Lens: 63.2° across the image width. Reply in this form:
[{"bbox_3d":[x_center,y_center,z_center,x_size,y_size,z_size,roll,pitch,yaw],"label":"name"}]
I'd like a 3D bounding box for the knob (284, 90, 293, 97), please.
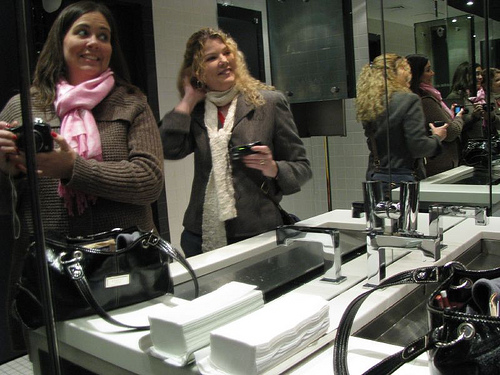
[{"bbox_3d":[0.135,-0.323,1.407,0.017,0.020,0.021,-5,12,20],"label":"knob"}]

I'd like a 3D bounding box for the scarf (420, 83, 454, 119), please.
[{"bbox_3d":[0.635,-0.298,1.404,0.039,0.110,0.081,-36,16,47],"label":"scarf"}]

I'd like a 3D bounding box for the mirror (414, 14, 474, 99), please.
[{"bbox_3d":[0.654,-0.419,1.342,0.156,0.268,0.009,-4,42,27],"label":"mirror"}]

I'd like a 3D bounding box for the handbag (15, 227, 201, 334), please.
[{"bbox_3d":[-0.327,0.204,0.929,0.227,0.186,0.384,7,3,27],"label":"handbag"}]

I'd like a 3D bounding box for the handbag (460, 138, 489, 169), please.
[{"bbox_3d":[0.820,-0.139,1.455,0.108,0.091,0.082,11,38,16],"label":"handbag"}]

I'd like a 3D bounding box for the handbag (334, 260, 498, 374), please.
[{"bbox_3d":[0.242,0.218,0.619,0.212,0.092,0.181,-13,17,32],"label":"handbag"}]

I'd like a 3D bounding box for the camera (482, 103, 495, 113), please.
[{"bbox_3d":[0.817,-0.270,1.385,0.037,0.031,0.013,9,15,24],"label":"camera"}]

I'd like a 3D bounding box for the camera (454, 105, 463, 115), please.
[{"bbox_3d":[0.718,-0.267,1.394,0.020,0.036,0.027,0,7,-37],"label":"camera"}]

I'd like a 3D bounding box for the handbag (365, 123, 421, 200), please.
[{"bbox_3d":[0.439,-0.073,1.283,0.176,0.238,0.274,2,11,32],"label":"handbag"}]

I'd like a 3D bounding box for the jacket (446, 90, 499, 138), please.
[{"bbox_3d":[0.794,-0.228,1.384,0.139,0.183,0.044,-1,20,10],"label":"jacket"}]

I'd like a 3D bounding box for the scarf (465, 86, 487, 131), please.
[{"bbox_3d":[0.775,-0.270,1.384,0.093,0.114,0.040,5,11,21],"label":"scarf"}]

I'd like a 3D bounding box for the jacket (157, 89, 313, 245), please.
[{"bbox_3d":[-0.074,-0.081,1.319,0.531,0.462,0.303,2,-2,9],"label":"jacket"}]

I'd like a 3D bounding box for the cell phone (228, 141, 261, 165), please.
[{"bbox_3d":[-0.025,-0.088,1.137,0.071,0.020,0.068,-14,0,-20],"label":"cell phone"}]

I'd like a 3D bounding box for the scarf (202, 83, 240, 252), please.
[{"bbox_3d":[-0.085,-0.058,1.229,0.112,0.494,0.209,1,14,-7],"label":"scarf"}]
